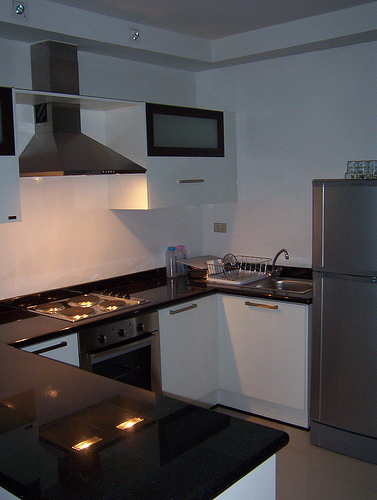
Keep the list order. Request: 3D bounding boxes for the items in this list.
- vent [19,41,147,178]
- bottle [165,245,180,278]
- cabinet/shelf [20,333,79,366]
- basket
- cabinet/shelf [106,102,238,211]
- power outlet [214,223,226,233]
[{"bbox_3d":[-0.768,-0.833,2.610,0.744,0.819,0.758,-2,3,-13],"label":"vent"},{"bbox_3d":[-0.143,0.109,3.662,0.111,0.264,0.081,-4,4,-5],"label":"bottle"},{"bbox_3d":[-0.737,0.506,2.233,0.170,0.215,0.234,2,5,34],"label":"cabinet/shelf"},{"bbox_3d":[0.412,0.155,3.508,0.486,0.202,0.510,-1,5,39],"label":"basket"},{"bbox_3d":[-0.142,-0.699,3.124,0.343,0.596,0.917,5,12,40],"label":"cabinet/shelf"},{"bbox_3d":[0.295,-0.204,3.876,0.150,0.103,0.084,4,4,43],"label":"power outlet"}]
